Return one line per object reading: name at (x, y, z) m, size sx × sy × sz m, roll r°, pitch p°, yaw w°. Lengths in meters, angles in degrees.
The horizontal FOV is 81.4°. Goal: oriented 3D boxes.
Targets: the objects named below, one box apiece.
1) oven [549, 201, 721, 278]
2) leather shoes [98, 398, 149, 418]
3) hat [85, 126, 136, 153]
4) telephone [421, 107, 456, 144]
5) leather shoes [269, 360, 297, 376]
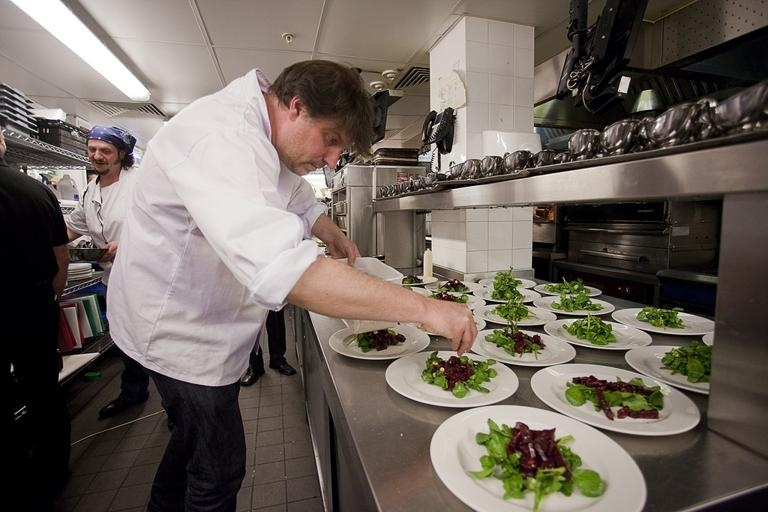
oven at (2.295, -0.209, 4.042) m, size 0.610 × 0.675 × 1.036 m, roll 3°, pitch 4°, yaw -24°
leather shoes at (-2.017, 1.147, 3.439) m, size 0.309 × 0.117 × 0.103 m, roll -1°, pitch 4°, yaw -39°
hat at (-2.193, -0.968, 3.564) m, size 0.307 × 0.183 × 0.334 m, roll -3°, pitch 34°, yaw -43°
telephone at (0.384, -1.073, 3.484) m, size 0.235 × 0.121 × 0.320 m, roll 13°, pitch 43°, yaw 32°
leather shoes at (-0.910, 0.981, 4.005) m, size 0.257 × 0.102 × 0.113 m, roll 4°, pitch 5°, yaw 30°
